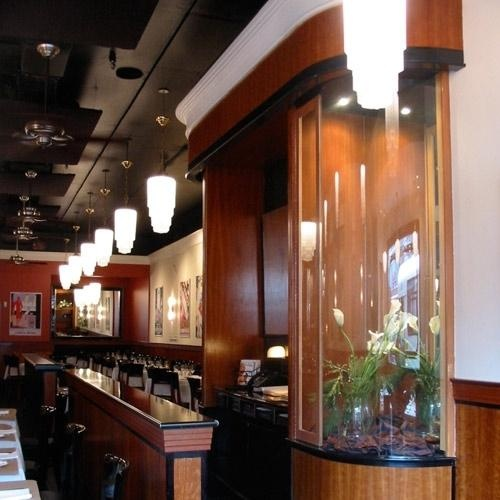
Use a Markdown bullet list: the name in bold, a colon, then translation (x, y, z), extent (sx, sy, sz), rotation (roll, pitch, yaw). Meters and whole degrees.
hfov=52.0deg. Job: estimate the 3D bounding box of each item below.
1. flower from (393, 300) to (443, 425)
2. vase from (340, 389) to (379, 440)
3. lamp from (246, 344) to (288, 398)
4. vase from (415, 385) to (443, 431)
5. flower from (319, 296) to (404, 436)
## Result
- **flower**: translation (0.985, 0.679, 2.940), extent (0.267, 0.637, 0.382), rotation (3, -10, -15)
- **vase**: translation (0.614, 0.886, 2.896), extent (0.194, 0.426, 0.233), rotation (1, -8, 13)
- **lamp**: translation (0.210, 1.176, 4.977), extent (0.359, 0.524, 0.319), rotation (26, -15, -16)
- **vase**: translation (1.015, 0.918, 2.884), extent (0.135, 0.277, 0.156), rotation (-3, -35, 24)
- **flower**: translation (0.681, 0.690, 2.992), extent (0.473, 0.798, 0.475), rotation (7, 10, 19)
